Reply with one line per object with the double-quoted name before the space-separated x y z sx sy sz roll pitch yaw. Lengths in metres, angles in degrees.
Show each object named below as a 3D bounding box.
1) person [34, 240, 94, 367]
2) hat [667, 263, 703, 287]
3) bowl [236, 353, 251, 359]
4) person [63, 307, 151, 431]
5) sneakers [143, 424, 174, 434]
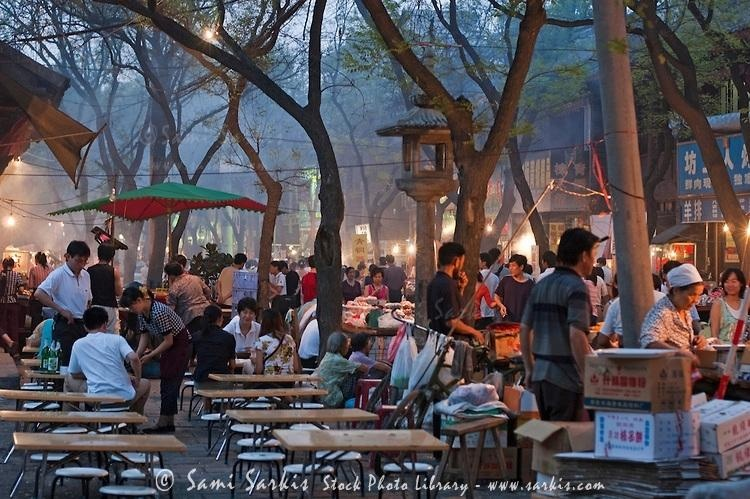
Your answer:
"person" -5.459 1.419 14.198 0.896 2.941 1.148 0 0 4
"hat" 3.820 0.312 9.638 0.309 0.206 0.312 -15 16 -34
"bowl" -2.411 1.933 14.300 0.233 0.084 0.238 1 -2 0
"person" -3.996 1.743 11.665 1.353 1.756 1.059 0 0 15
"sneakers" -3.505 2.907 12.788 0.430 0.121 0.161 6 -8 -15
